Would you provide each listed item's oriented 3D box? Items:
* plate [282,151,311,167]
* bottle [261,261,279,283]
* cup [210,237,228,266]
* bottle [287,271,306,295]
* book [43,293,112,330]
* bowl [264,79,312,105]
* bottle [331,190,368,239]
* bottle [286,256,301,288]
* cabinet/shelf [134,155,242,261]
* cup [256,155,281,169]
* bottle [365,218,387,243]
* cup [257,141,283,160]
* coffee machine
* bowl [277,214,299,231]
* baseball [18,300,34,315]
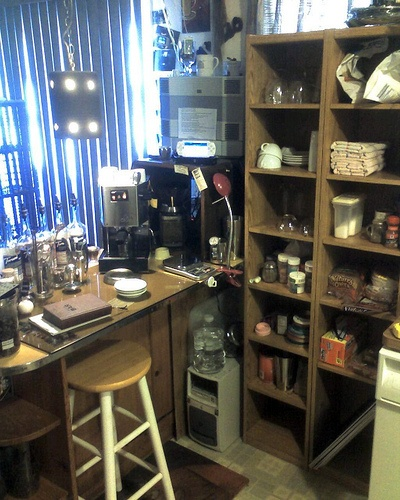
[{"bbox_3d":[0.417,-0.399,1.806,0.110,0.069,0.108,3,8,11],"label":"plate"},{"bbox_3d":[0.329,0.104,1.984,0.066,0.104,0.097,0,3,3],"label":"bottle"},{"bbox_3d":[0.111,0.008,1.957,0.073,0.131,0.131,5,19,17],"label":"cup"},{"bbox_3d":[0.425,0.141,1.799,0.077,0.086,0.083,0,13,3],"label":"bottle"},{"bbox_3d":[-0.398,0.197,1.352,0.115,0.028,0.112,-14,25,-42],"label":"book"},{"bbox_3d":[0.346,-0.628,1.658,0.151,0.081,0.106,5,24,15],"label":"bowl"},{"bbox_3d":[0.595,-0.138,1.670,0.114,0.177,0.187,5,8,27],"label":"bottle"},{"bbox_3d":[0.417,0.100,1.845,0.066,0.114,0.064,1,29,-1],"label":"bottle"},{"bbox_3d":[-0.043,-0.202,2.062,0.433,0.442,0.256,9,15,33],"label":"cabinet/shelf"},{"bbox_3d":[0.294,-0.374,1.751,0.098,0.067,0.074,2,8,7],"label":"cup"},{"bbox_3d":[0.666,-0.071,1.592,0.077,0.081,0.047,-2,12,-5],"label":"bottle"},{"bbox_3d":[0.301,-0.424,1.774,0.087,0.045,0.071,-3,16,-39],"label":"cup"},{"bbox_3d":[-0.354,-0.156,2.001,0.255,0.484,0.392,0,8,-7],"label":"coffee machine"},{"bbox_3d":[0.394,-0.121,1.827,0.090,0.071,0.111,3,8,11],"label":"bowl"},{"bbox_3d":[-0.605,0.202,1.435,0.046,0.055,0.047,-3,8,-26],"label":"baseball"}]
